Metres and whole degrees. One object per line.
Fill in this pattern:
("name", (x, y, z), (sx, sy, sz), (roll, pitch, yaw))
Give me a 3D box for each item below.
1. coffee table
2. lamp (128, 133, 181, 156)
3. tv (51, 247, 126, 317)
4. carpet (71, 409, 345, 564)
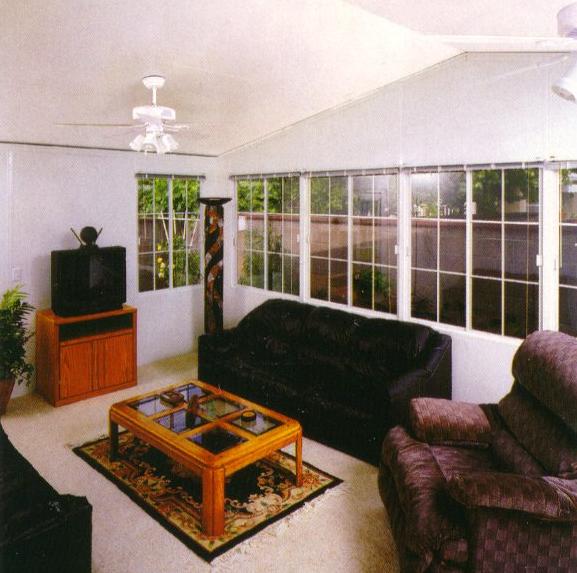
("coffee table", (-0.503, 0.982, 3.517), (0.689, 0.431, 0.993), (-5, 12, -43))
("lamp", (-0.946, -1.003, 3.573), (0.294, 0.108, 0.439), (-3, 11, -17))
("tv", (-1.968, -0.058, 4.959), (0.515, 0.586, 0.258), (-5, 9, -39))
("carpet", (-0.620, 1.313, 3.776), (1.807, 0.045, 1.233), (11, 15, 42))
